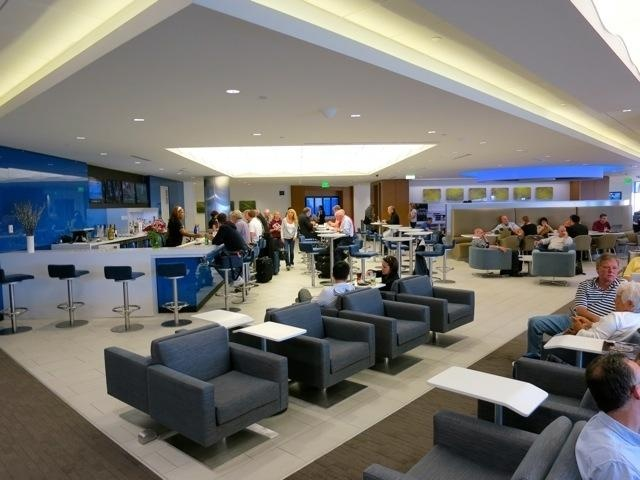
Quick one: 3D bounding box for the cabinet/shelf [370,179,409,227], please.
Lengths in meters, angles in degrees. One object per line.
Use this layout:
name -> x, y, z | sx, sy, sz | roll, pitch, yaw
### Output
cabinet/shelf -> 3.192, -1.959, 23.457 | 1.685, 2.265, 2.877 | -3, 3, -27

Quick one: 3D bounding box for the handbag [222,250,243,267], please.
handbag -> -1.764, 0.382, 8.810 | 0.511, 0.299, 0.340 | -2, 6, -30

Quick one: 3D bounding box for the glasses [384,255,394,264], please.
glasses -> 1.153, 0.323, 7.201 | 0.120, 0.122, 0.147 | -7, 12, -32

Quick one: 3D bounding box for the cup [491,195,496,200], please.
cup -> 9.564, -2.336, 23.895 | 0.269, 0.377, 0.232 | 2, 10, 16

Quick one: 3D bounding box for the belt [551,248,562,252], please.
belt -> 5.964, 0.251, 10.921 | 0.268, 0.067, 0.321 | 3, 9, 25

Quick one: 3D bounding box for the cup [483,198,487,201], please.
cup -> 9.081, -2.244, 23.848 | 0.240, 0.126, 0.114 | 0, 7, 2

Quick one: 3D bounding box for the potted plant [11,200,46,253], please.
potted plant -> -5.909, -0.308, 8.840 | 0.480, 0.961, 1.531 | -8, 11, -33

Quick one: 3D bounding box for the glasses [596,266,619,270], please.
glasses -> 3.300, 0.311, 4.927 | 0.227, 0.063, 0.132 | 0, 8, 7

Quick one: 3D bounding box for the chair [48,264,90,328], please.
chair -> -4.599, 0.967, 7.968 | 0.608, 1.163, 0.695 | -4, 10, -12

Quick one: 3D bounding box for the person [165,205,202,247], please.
person -> -3.045, -0.119, 9.604 | 0.835, 1.177, 0.567 | 7, 11, -8

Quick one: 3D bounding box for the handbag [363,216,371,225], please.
handbag -> 2.283, -0.921, 20.486 | 0.481, 0.431, 0.441 | -3, 6, -24
